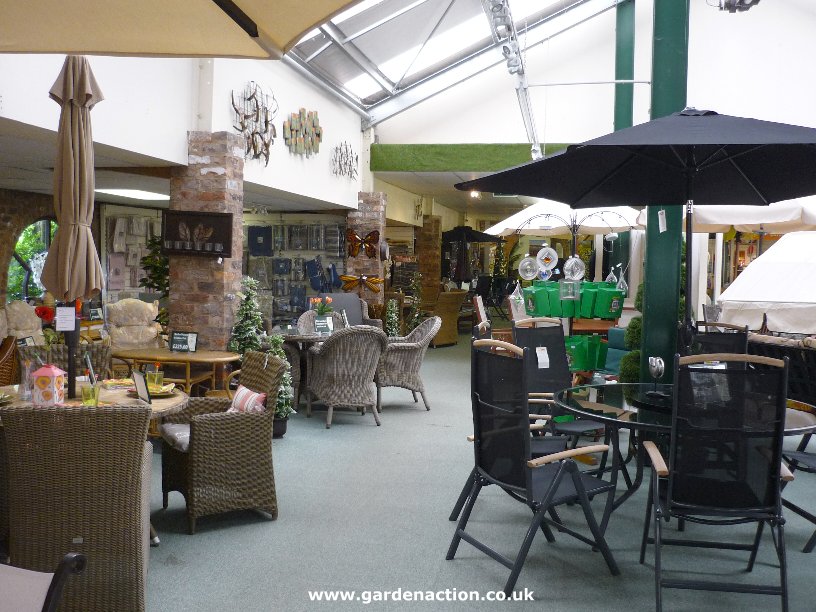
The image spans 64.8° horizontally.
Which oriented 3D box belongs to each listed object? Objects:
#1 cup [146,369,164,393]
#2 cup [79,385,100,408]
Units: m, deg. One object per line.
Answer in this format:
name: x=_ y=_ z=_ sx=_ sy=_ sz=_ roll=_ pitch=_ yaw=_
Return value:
cup: x=-1.706 y=0.511 z=4.352 sx=0.125 sy=0.144 sz=0.125 roll=0 pitch=2 yaw=0
cup: x=-1.908 y=0.528 z=3.850 sx=0.087 sy=0.106 sz=0.102 roll=-2 pitch=6 yaw=-32
